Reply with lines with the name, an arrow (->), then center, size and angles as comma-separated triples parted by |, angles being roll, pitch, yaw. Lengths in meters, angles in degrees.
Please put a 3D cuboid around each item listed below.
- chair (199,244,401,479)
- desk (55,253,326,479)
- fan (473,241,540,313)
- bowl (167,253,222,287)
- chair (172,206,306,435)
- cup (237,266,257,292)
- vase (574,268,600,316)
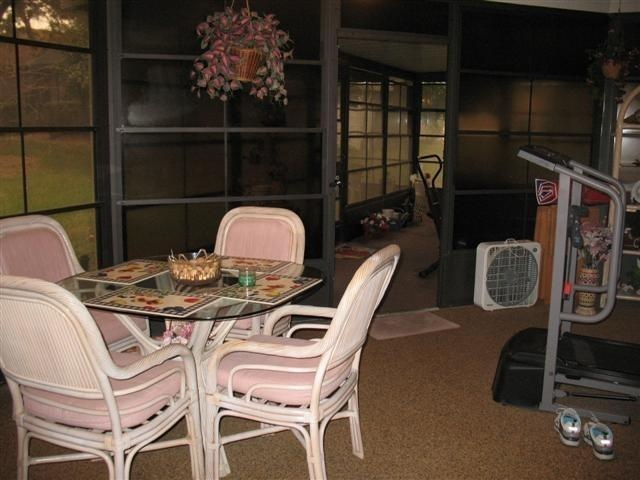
chair -> -0.103, 0.435, 2.967 | 1.189, 1.465, 0.938 | 4, 7, 20
desk -> -0.661, 0.609, 2.741 | 1.455, 0.811, 1.361 | -1, 7, -21
fan -> 1.649, 0.313, 4.621 | 0.626, 0.626, 0.274 | -3, 11, -12
bowl -> -0.613, 0.143, 2.634 | 0.261, 0.124, 0.238 | -4, -3, 0
chair -> -0.399, 0.262, 3.097 | 0.559, 0.859, 0.600 | 7, 1, 3
cup -> -0.342, 0.182, 2.503 | 0.112, 0.116, 0.106 | 2, 7, 0
vase -> 2.369, 0.467, 4.561 | 0.207, 0.356, 0.203 | 9, -2, -38
